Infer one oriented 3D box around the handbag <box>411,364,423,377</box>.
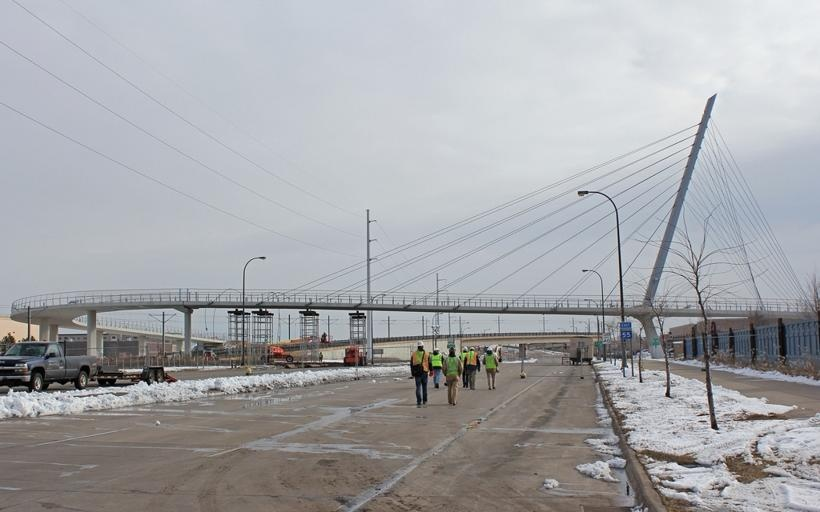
[{"bbox_3d":[0.310,4.597,30.870,0.579,0.516,0.323,-2,2,4],"label":"handbag"}]
